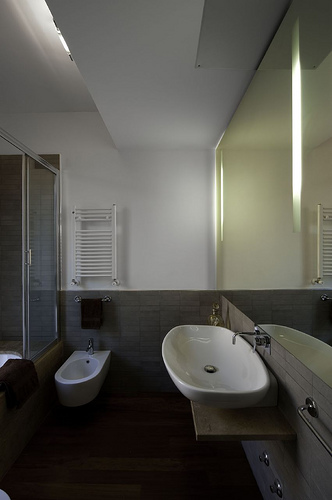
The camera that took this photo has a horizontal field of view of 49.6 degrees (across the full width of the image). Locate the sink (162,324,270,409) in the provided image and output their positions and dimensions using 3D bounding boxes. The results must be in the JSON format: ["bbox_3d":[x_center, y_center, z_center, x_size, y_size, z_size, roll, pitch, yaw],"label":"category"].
[{"bbox_3d":[0.214,0.568,1.941,0.464,0.168,0.981,0,9,-2],"label":"sink"}]

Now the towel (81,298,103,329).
[{"bbox_3d":[-0.604,0.522,2.988,0.159,0.238,0.062,1,-1,4],"label":"towel"}]

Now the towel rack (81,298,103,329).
[{"bbox_3d":[-0.604,0.516,2.939,0.155,0.240,0.060,0,-1,4],"label":"towel rack"}]
